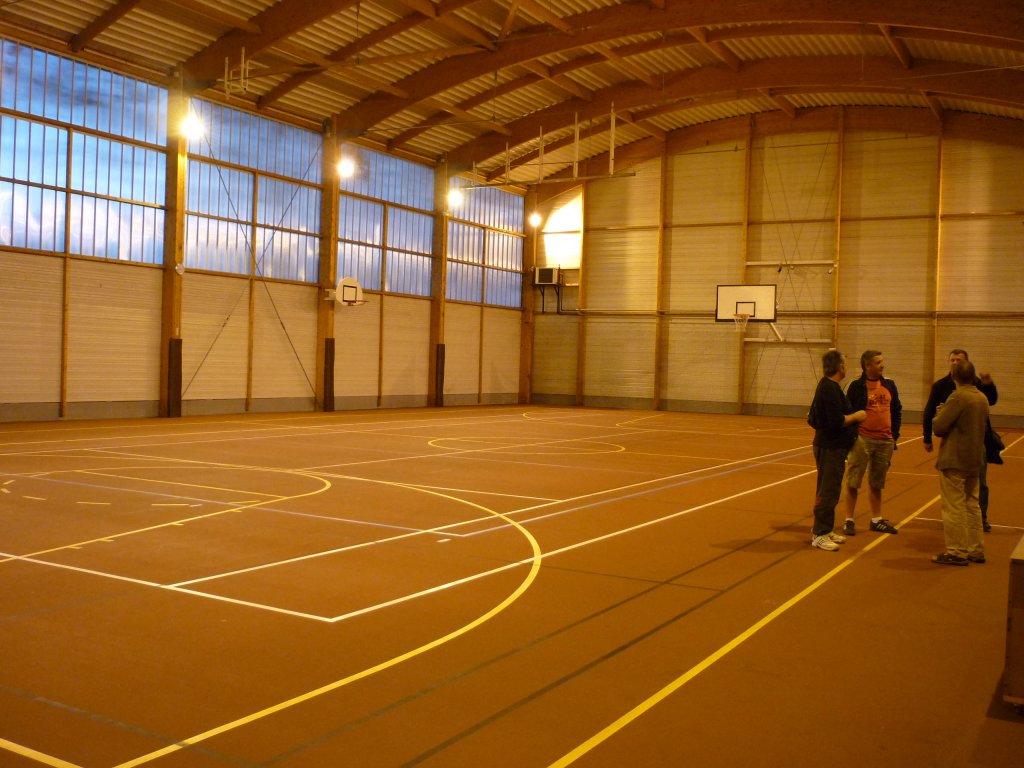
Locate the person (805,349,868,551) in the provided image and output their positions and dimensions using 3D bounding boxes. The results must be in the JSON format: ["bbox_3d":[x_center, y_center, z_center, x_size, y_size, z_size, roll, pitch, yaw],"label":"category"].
[{"bbox_3d":[3.858,0.738,8.751,0.564,2.266,0.997,3,3,23],"label":"person"}]

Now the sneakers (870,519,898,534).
[{"bbox_3d":[4.970,1.818,9.682,0.413,0.167,0.149,4,2,-27],"label":"sneakers"}]

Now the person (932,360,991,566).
[{"bbox_3d":[4.960,0.838,8.104,0.688,2.158,0.427,-1,4,-43],"label":"person"}]
